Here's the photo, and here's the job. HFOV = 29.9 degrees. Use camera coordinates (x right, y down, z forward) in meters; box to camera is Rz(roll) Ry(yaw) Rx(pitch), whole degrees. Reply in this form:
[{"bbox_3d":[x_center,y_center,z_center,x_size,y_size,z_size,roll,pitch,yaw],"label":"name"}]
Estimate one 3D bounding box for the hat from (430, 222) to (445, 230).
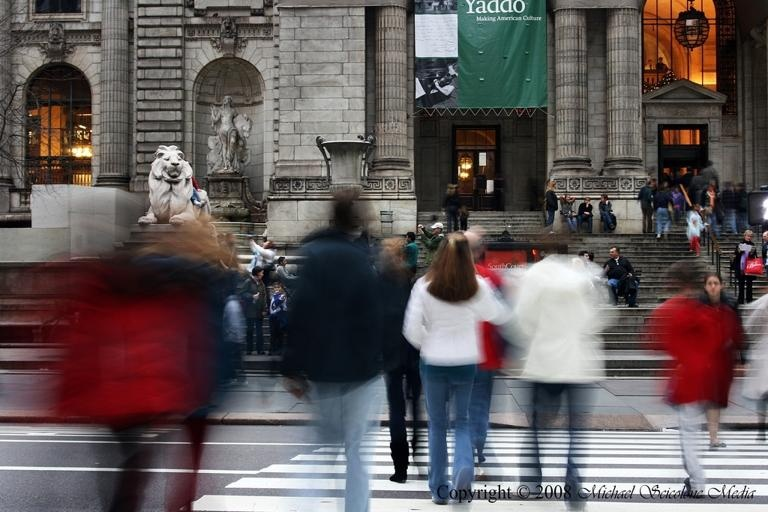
[{"bbox_3d":[1.841,-1.026,48.429,0.346,0.155,0.243,4,-2,-3],"label":"hat"}]
